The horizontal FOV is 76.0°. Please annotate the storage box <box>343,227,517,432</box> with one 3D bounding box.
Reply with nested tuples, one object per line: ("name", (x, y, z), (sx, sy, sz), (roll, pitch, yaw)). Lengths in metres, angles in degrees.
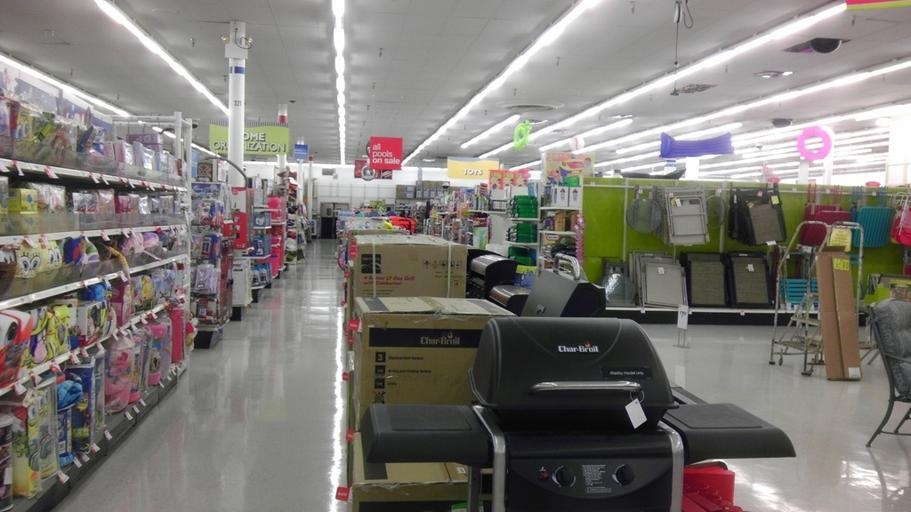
("storage box", (-0.317, 0.707, 4.941), (1.118, 1.610, 1.342), (0, 1, -12))
